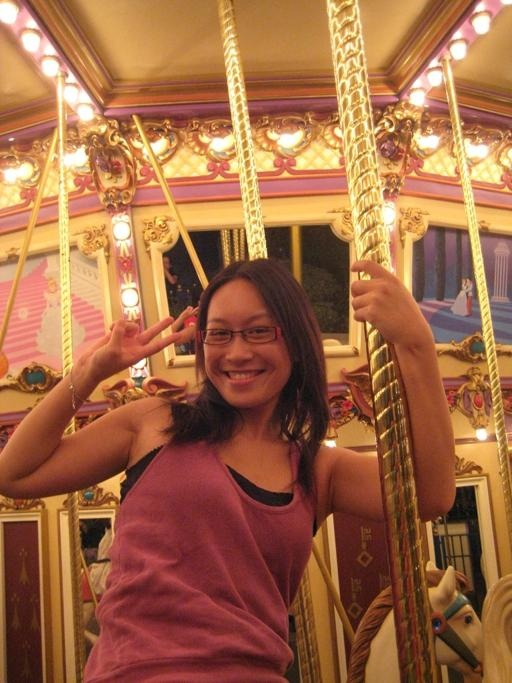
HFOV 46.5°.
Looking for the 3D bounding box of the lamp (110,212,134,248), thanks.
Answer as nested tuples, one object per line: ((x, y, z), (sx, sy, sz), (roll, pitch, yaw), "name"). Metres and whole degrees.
((-0.942, -0.798, 4.223), (0.171, 0.213, 0.221), (0, 3, -2), "lamp")

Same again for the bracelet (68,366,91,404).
((-0.343, 0.084, 1.162), (0.025, 0.070, 0.054), (1, -10, 31), "bracelet")
